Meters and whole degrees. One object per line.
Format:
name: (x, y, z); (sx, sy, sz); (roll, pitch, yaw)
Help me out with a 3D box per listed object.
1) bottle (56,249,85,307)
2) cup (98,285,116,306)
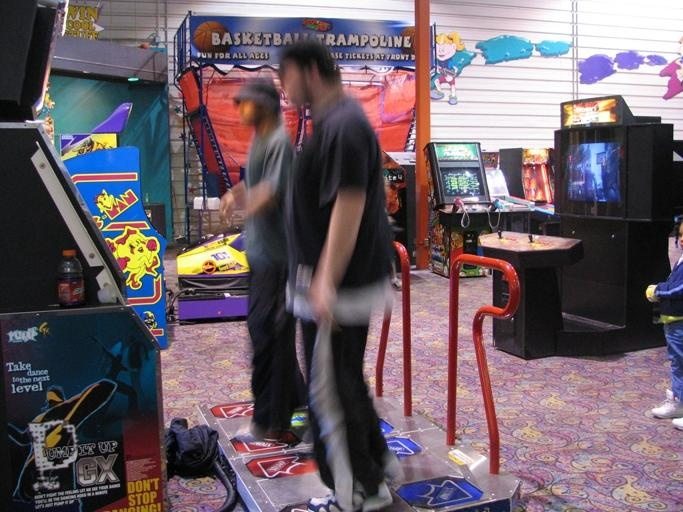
bottle: (-1.028, 0.081, 2.168); (0.085, 0.204, 0.100); (7, 9, 31)
cup: (-0.916, 0.153, 2.210); (0.073, 0.064, 0.059); (-8, 39, 8)
